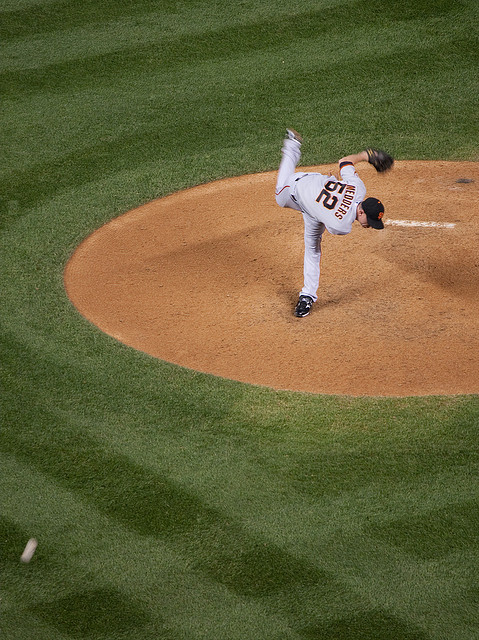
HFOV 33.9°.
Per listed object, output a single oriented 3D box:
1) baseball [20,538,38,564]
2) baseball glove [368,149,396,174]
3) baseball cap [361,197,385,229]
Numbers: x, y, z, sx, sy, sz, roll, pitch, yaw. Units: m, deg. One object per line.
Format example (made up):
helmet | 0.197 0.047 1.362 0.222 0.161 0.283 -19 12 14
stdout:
baseball | -1.329 1.461 4.945 0.071 0.032 0.136 22 61 4
baseball glove | 1.150 -1.303 6.452 0.187 0.225 0.240 0 29 8
baseball cap | 1.059 -0.844 6.285 0.170 0.245 0.181 0 30 7
